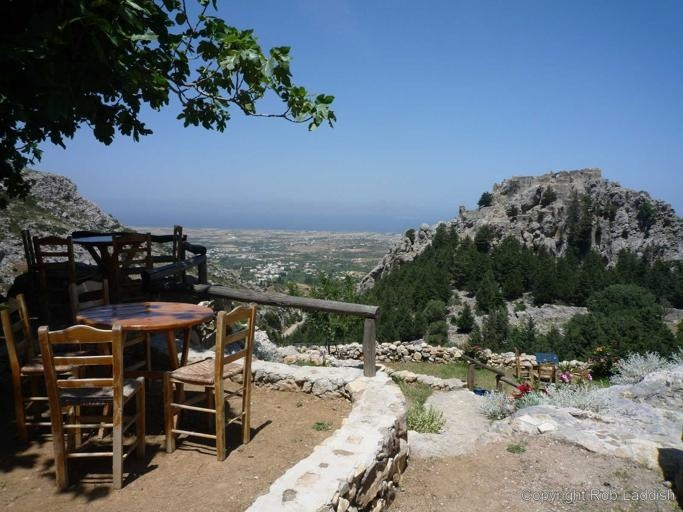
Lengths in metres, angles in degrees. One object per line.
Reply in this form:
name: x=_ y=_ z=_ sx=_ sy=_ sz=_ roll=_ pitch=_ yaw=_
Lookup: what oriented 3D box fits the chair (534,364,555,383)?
chair: x=8.271 y=4.824 z=18.018 sx=0.631 sy=1.016 sz=0.657 roll=3 pitch=38 yaw=18
